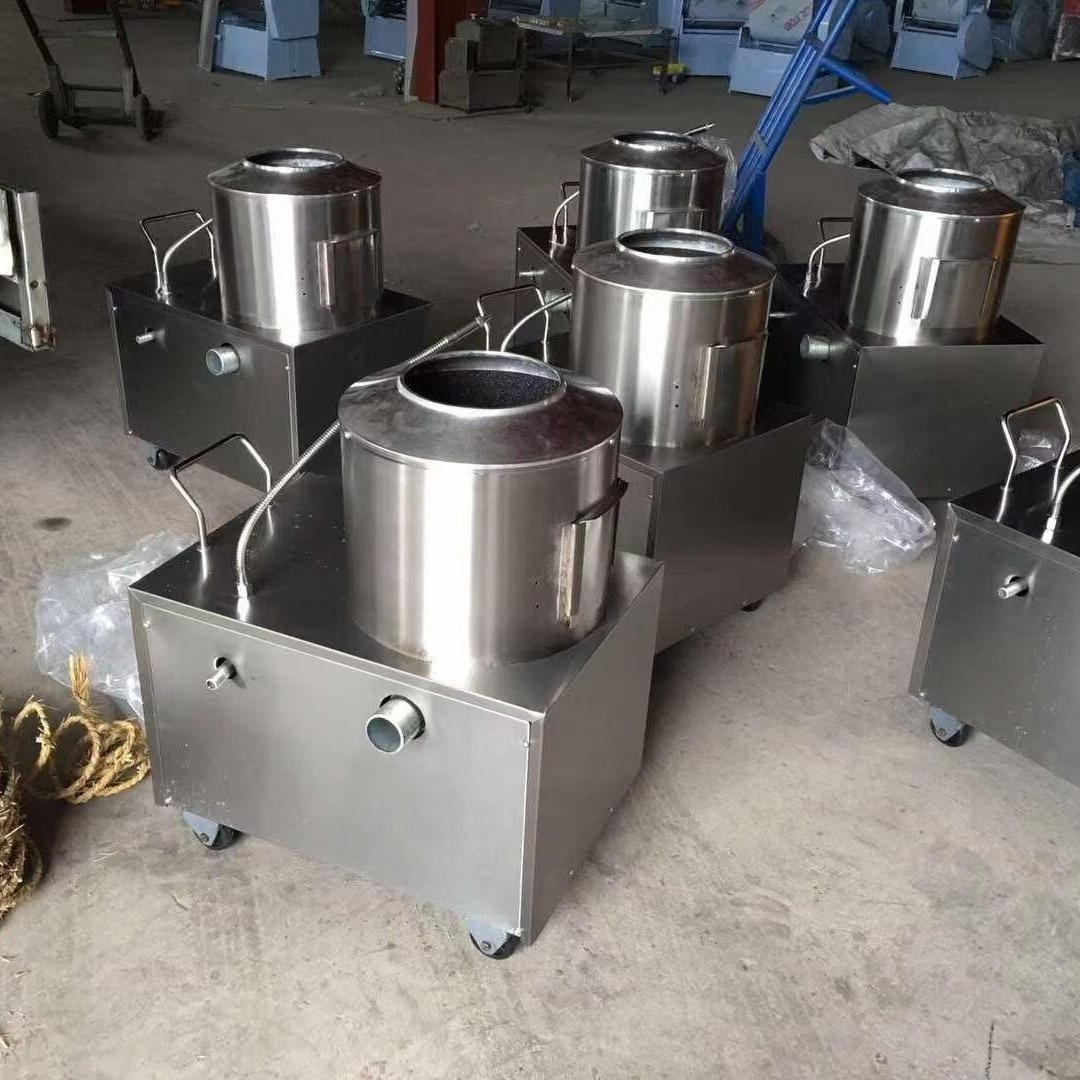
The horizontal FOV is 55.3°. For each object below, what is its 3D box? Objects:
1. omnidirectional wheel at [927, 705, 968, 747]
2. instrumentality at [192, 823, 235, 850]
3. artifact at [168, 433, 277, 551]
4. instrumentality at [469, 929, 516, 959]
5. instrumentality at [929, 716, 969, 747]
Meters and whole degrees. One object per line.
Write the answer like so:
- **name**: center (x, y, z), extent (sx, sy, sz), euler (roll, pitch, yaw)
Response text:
- **omnidirectional wheel**: center (0.825, 0.382, 2.110), extent (0.070, 0.030, 0.088), euler (15, 38, -23)
- **instrumentality**: center (-0.539, 0.499, 1.724), extent (0.055, 0.062, 0.042), euler (2, 58, -14)
- **artifact**: center (-0.712, -0.116, 2.316), extent (0.109, 0.217, 0.289), euler (35, 53, 20)
- **instrumentality**: center (-0.067, 0.609, 1.541), extent (0.066, 0.038, 0.048), euler (1, 32, 16)
- **instrumentality**: center (0.831, 0.397, 2.088), extent (0.056, 0.063, 0.067), euler (7, 60, 11)
